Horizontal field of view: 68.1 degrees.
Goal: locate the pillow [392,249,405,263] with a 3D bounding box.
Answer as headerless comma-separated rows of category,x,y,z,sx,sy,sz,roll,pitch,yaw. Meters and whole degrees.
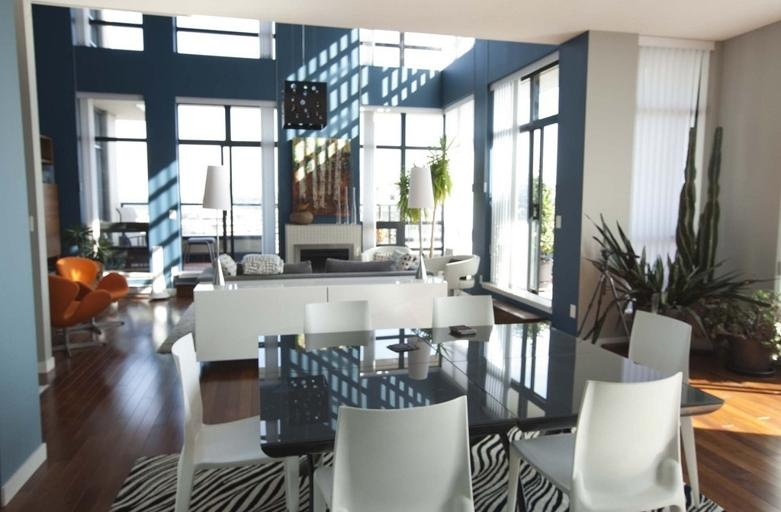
pillow,0.114,-0.008,9.415,0.199,0.209,0.207,-1,-5,32

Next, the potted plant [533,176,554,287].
potted plant,2.353,-0.281,8.844,0.239,1.675,0.377,0,6,12

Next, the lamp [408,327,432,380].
lamp,0.224,0.784,4.480,0.187,0.310,0.193,2,2,3

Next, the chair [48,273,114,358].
chair,-3.866,0.604,7.237,0.894,1.074,0.970,0,4,-29

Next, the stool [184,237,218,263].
stool,-3.505,-0.137,10.572,0.477,0.415,0.495,0,-1,-12

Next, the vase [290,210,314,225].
vase,-1.657,-0.726,10.904,0.288,0.221,0.301,0,-3,5

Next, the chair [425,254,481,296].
chair,0.992,0.215,9.123,0.661,0.792,0.720,0,1,-25
